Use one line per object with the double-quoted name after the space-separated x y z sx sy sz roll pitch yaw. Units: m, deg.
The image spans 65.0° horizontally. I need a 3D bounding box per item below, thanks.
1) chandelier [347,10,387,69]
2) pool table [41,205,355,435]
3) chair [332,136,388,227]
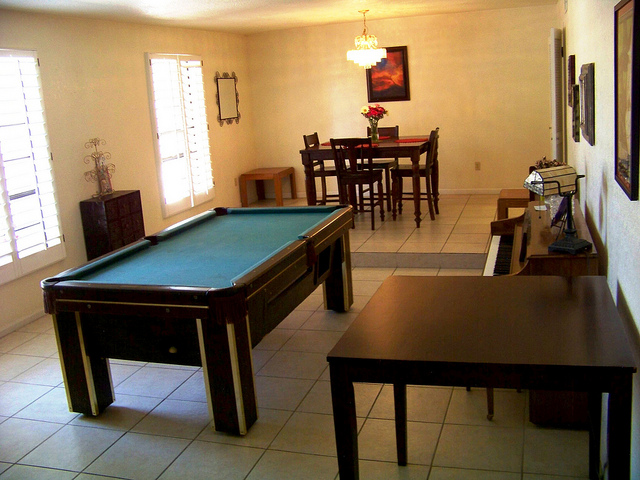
0.717 -3.040 7.614 0.522 0.796 1.239 -1 17 10 "chandelier"
-0.867 1.074 3.872 1.557 1.015 2.428 3 17 16 "pool table"
0.568 -0.850 7.235 0.666 1.212 0.761 2 13 29 "chair"
